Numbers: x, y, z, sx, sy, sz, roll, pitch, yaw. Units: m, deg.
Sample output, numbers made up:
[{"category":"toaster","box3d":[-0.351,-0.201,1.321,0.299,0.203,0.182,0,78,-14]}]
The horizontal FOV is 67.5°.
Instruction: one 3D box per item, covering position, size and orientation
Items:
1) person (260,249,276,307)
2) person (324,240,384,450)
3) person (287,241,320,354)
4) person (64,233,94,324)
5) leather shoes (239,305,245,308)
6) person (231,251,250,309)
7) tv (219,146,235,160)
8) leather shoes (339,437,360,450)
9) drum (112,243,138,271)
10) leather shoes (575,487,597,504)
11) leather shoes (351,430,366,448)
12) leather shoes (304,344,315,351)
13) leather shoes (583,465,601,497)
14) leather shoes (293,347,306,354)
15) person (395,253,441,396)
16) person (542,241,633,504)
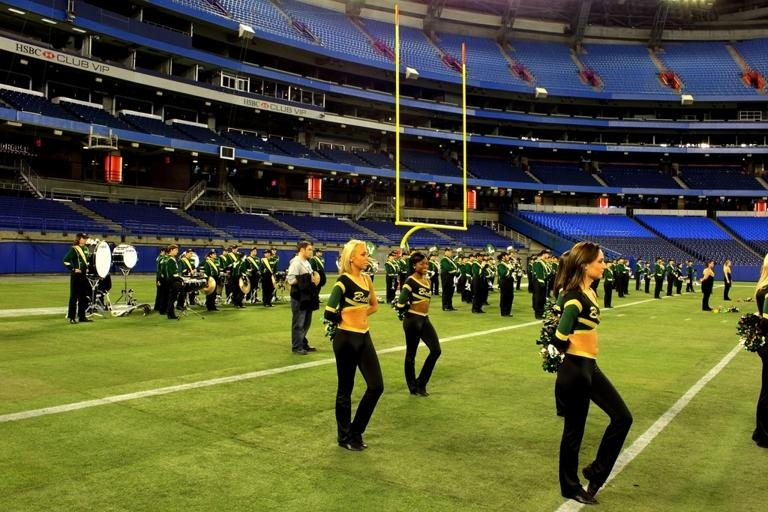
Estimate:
[{"category":"person","box3d":[-4.063,0.773,20.055,0.496,1.903,1.341,1,-2,-12]},{"category":"person","box3d":[-0.441,1.183,7.961,0.806,2.829,0.702,0,-3,-4]},{"category":"person","box3d":[-1.705,0.867,12.151,0.654,2.359,0.743,0,-3,-6]},{"category":"person","box3d":[-8.175,0.558,15.316,0.604,2.367,0.965,1,-3,-24]},{"category":"leather shoes","box3d":[-4.807,1.689,19.361,0.278,0.080,0.085,-4,-4,21]},{"category":"person","box3d":[-4.858,0.829,19.271,0.565,1.762,0.785,1,-3,-13]},{"category":"tv","box3d":[-10.067,-6.578,36.723,0.140,0.714,1.335,-5,-6,44]},{"category":"leather shoes","box3d":[-0.476,2.518,7.741,0.332,0.114,0.116,-10,-3,36]},{"category":"drum","box3d":[-7.772,0.028,17.132,0.616,0.727,0.776,1,-2,-23]},{"category":"leather shoes","box3d":[2.425,2.834,6.846,0.124,0.116,0.351,-4,-4,39]},{"category":"leather shoes","box3d":[-0.324,2.494,7.824,0.250,0.175,0.187,-6,-7,24]},{"category":"leather shoes","box3d":[-1.645,1.990,12.414,0.270,0.091,0.095,-8,-12,43]},{"category":"leather shoes","box3d":[2.488,2.662,6.908,0.216,0.386,0.153,-16,5,18]},{"category":"leather shoes","box3d":[-1.804,2.016,12.181,0.321,0.096,0.110,-2,-3,13]},{"category":"person","box3d":[0.558,1.125,10.063,0.764,2.403,0.861,0,-3,3]},{"category":"person","box3d":[2.421,1.364,6.965,0.932,3.080,0.373,0,-3,8]}]
